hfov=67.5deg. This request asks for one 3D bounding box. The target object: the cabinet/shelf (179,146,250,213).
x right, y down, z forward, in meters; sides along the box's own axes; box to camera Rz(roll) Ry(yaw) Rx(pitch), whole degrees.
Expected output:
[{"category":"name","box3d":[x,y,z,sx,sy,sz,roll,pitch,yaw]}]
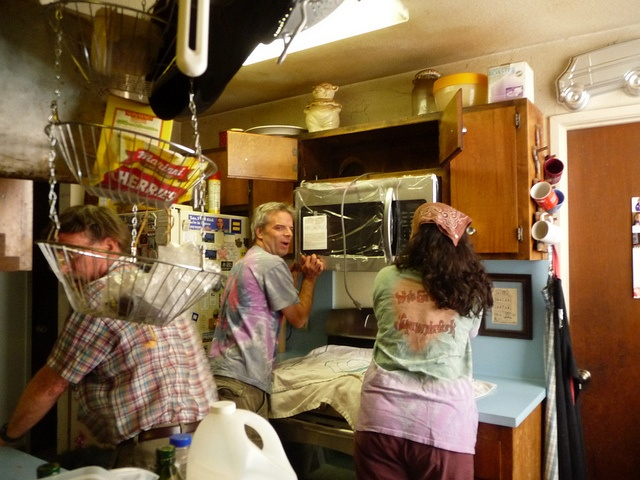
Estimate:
[{"category":"cabinet/shelf","box3d":[-0.592,-0.367,3.017,0.260,0.464,0.346,14,28,0]}]

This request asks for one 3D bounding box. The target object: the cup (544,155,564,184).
[{"category":"cup","box3d":[1.086,-0.332,2.271,0.077,0.132,0.113,-3,-39,20]}]

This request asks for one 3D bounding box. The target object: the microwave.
[{"category":"microwave","box3d":[0.227,-0.201,2.462,0.660,0.450,0.463,-1,-2,33]}]

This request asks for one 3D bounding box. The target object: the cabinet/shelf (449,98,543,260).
[{"category":"cabinet/shelf","box3d":[0.836,-0.281,2.343,0.416,0.740,0.362,-1,1,21]}]

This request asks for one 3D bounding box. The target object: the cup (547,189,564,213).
[{"category":"cup","box3d":[1.082,-0.185,2.208,0.079,0.076,0.081,3,34,-2]}]

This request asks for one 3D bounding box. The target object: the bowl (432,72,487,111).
[{"category":"bowl","box3d":[0.670,-0.732,2.312,0.204,0.128,0.218,-2,1,0]}]

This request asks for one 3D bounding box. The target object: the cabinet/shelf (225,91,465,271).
[{"category":"cabinet/shelf","box3d":[0.241,-0.204,2.548,1.127,0.795,0.813,-1,0,22]}]

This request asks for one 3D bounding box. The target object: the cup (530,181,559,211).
[{"category":"cup","box3d":[1.003,-0.196,2.156,0.092,0.067,0.104,37,0,-36]}]

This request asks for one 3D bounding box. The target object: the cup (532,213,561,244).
[{"category":"cup","box3d":[1.055,-0.058,2.213,0.100,0.141,0.277,2,-3,34]}]
